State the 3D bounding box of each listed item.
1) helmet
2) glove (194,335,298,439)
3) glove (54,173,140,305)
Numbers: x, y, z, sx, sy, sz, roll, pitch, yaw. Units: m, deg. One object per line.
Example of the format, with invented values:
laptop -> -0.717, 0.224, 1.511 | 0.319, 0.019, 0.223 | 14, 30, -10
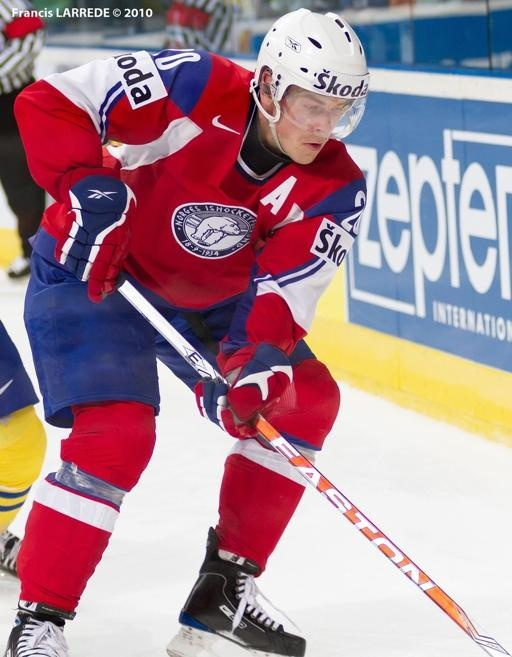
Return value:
helmet -> 0.096, -0.455, 1.361 | 0.211, 0.236, 0.165 | 2, 18, -1
glove -> -0.013, 0.099, 1.310 | 0.176, 0.137, 0.082 | -51, 21, -19
glove -> -0.282, -0.159, 1.323 | 0.149, 0.206, 0.056 | 12, 10, 4
